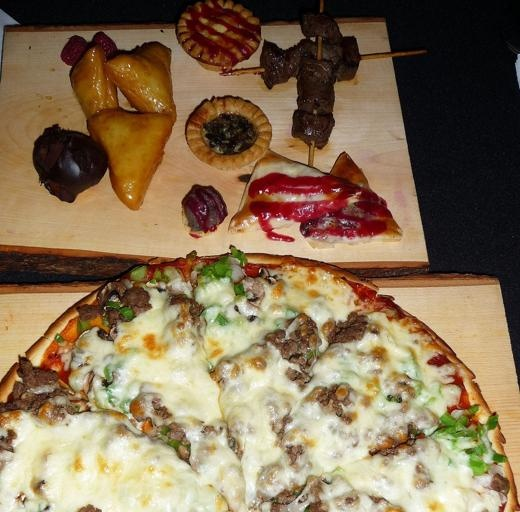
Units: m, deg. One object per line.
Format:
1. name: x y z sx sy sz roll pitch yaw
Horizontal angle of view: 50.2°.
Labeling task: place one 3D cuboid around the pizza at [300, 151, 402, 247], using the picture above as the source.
1. pizza: 0.631 -0.397 4.017 0.713 0.275 0.609 -3 63 -3
